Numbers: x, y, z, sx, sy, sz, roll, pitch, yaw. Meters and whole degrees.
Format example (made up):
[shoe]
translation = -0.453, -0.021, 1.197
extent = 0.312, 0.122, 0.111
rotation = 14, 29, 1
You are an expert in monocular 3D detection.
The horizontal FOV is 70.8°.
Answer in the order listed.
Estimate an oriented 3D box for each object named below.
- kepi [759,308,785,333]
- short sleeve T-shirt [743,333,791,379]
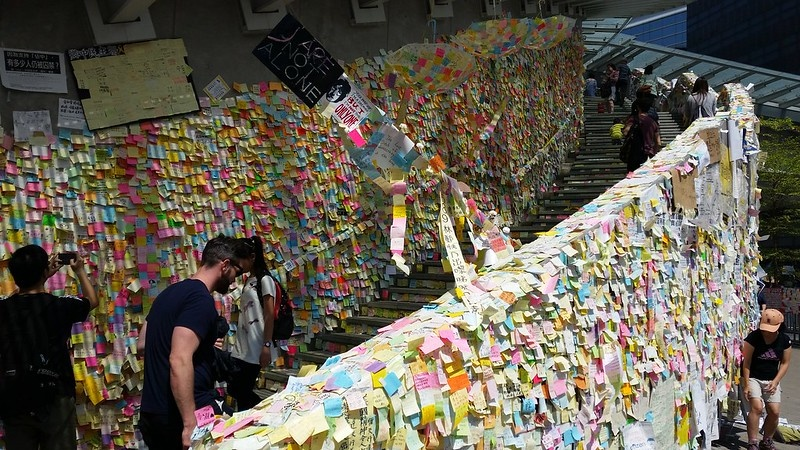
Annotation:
[kepi]
translation = 4.324, 1.098, 6.603
extent = 0.218, 0.320, 0.117
rotation = 10, -44, 33
[short sleeve T-shirt]
translation = 4.239, 1.511, 6.571
extent = 0.560, 0.503, 0.304
rotation = 6, 3, 21
